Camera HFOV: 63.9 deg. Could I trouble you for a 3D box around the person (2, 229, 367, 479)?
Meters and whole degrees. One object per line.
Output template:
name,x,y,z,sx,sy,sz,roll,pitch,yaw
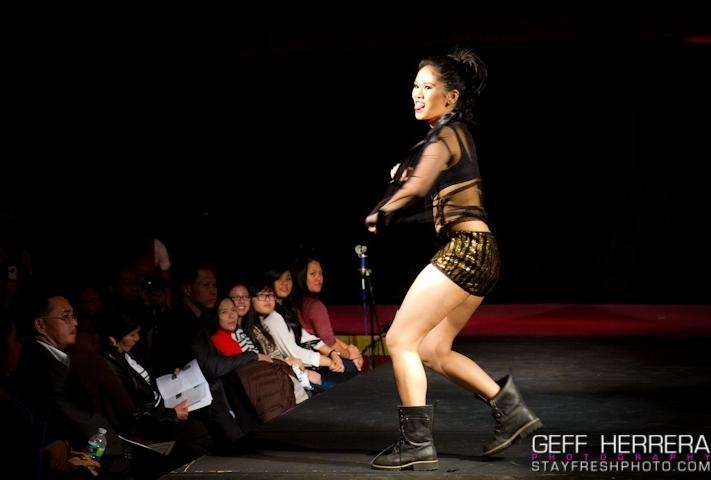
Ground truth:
person,-1.099,0.697,2.980,1.107,0.977,0.439,-12,9,-25

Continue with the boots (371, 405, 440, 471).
boots,0.198,0.882,2.548,0.362,0.262,0.160,3,-16,-14

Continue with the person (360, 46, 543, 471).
person,0.360,0.121,2.690,0.892,1.981,0.619,-10,9,-7
